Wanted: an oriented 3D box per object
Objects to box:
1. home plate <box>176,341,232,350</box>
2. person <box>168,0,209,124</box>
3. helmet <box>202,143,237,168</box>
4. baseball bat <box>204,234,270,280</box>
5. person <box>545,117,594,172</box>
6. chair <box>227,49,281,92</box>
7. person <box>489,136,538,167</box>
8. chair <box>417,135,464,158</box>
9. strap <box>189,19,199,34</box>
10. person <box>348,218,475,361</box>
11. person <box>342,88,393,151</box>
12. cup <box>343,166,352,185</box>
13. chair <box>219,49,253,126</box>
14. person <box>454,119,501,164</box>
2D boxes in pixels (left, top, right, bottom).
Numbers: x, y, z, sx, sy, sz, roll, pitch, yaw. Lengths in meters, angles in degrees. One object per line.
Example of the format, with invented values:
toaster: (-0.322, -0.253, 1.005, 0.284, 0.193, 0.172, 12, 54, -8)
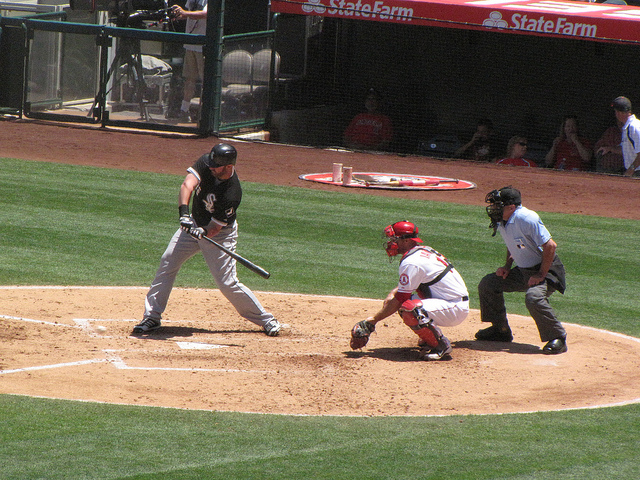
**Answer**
home plate: (-1.393, 1.229, 15.919, 0.594, 0.030, 0.196, 1, 12, -2)
person: (-2.555, -3.485, 26.404, 0.662, 2.432, 1.097, 1, 16, -6)
helmet: (-1.173, -0.985, 15.821, 0.426, 0.174, 0.271, 3, 27, -7)
baseball bat: (-1.074, 0.227, 17.132, 1.070, 0.104, 0.105, 28, 46, -3)
person: (4.809, -1.819, 25.183, 0.865, 1.022, 0.801, -1, 15, -11)
chair: (-1.111, -3.402, 27.120, 1.015, 0.937, 0.983, 2, 0, 34)
person: (3.752, -1.689, 25.968, 0.836, 0.328, 0.296, 7, -20, -26)
chair: (2.417, -1.867, 26.875, 0.867, 0.354, 0.777, 2, 13, -1)
strap: (-2.515, -4.201, 26.728, 0.031, 0.267, 0.029, 17, 30, -44)
person: (1.176, 0.542, 16.102, 1.730, 1.404, 1.158, -5, 11, -2)
person: (0.959, -2.458, 27.338, 0.974, 1.094, 1.136, 1, 14, -6)
cup: (0.475, -1.109, 23.050, 0.138, 0.272, 0.187, 3, 15, 1)
chair: (-1.767, -3.042, 26.869, 1.086, 1.383, 1.017, -3, 5, -9)
person: (3.151, -1.914, 26.109, 0.909, 0.772, 0.793, 0, 14, -6)
